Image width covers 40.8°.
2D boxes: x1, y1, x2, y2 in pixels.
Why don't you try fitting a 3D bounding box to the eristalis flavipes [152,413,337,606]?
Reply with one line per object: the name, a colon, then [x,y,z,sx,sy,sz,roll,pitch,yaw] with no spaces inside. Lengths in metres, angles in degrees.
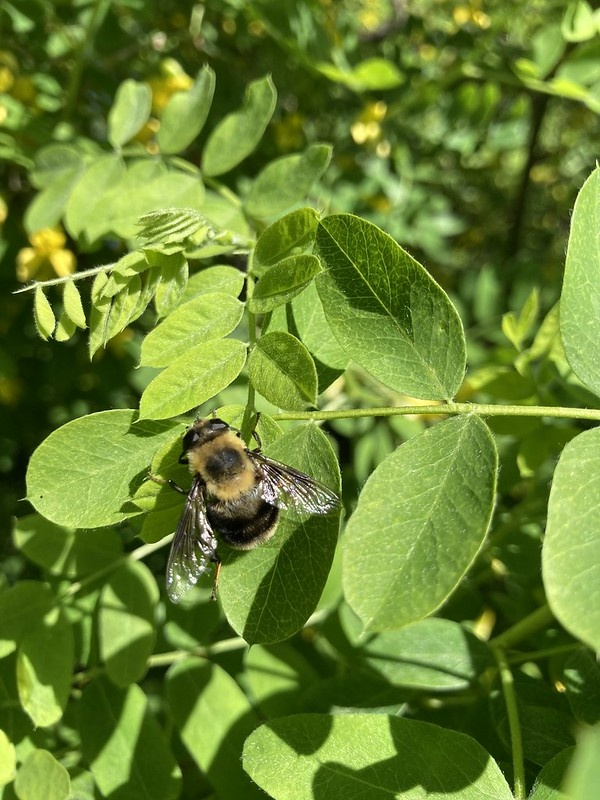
eristalis flavipes: [-0.107,0.161,1.361,0.378,0.302,0.113,1,-11,-37]
